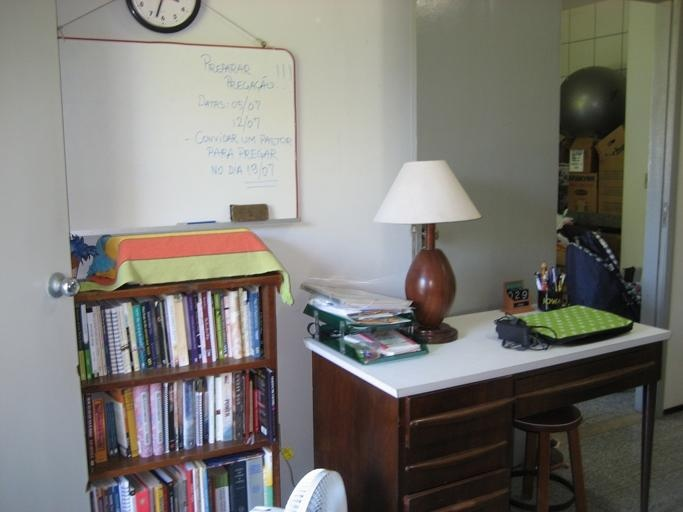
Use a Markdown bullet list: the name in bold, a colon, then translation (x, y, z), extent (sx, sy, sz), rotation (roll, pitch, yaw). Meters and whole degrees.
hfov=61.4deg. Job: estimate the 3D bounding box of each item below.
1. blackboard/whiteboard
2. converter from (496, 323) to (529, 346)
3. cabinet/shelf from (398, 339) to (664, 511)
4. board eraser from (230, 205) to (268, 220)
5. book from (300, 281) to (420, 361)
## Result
- **blackboard/whiteboard**: translation (-0.742, -0.518, 2.474), extent (0.872, 0.660, 0.027), rotation (-4, 12, -23)
- **converter**: translation (0.730, 0.329, 2.446), extent (0.088, 0.096, 0.037), rotation (8, 19, 39)
- **cabinet/shelf**: translation (1.032, 0.702, 2.628), extent (0.631, 0.622, 0.516), rotation (-6, 9, -26)
- **board eraser**: translation (-0.415, -0.196, 2.615), extent (0.113, 0.084, 0.026), rotation (-2, 6, -23)
- **book**: translation (0.071, 0.278, 2.454), extent (0.300, 0.173, 0.386), rotation (-5, 13, -34)
